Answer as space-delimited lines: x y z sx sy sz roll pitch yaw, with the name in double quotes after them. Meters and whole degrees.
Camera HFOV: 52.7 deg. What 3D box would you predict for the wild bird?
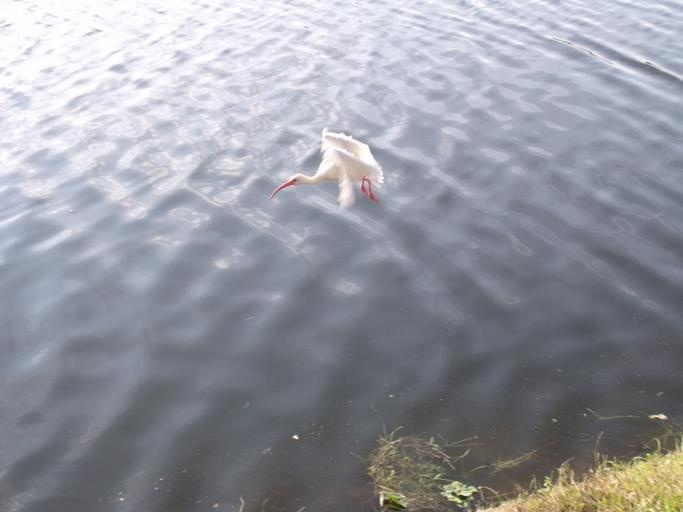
-0.356 -1.311 11.633 1.416 0.561 1.514 -11 8 -16 "wild bird"
